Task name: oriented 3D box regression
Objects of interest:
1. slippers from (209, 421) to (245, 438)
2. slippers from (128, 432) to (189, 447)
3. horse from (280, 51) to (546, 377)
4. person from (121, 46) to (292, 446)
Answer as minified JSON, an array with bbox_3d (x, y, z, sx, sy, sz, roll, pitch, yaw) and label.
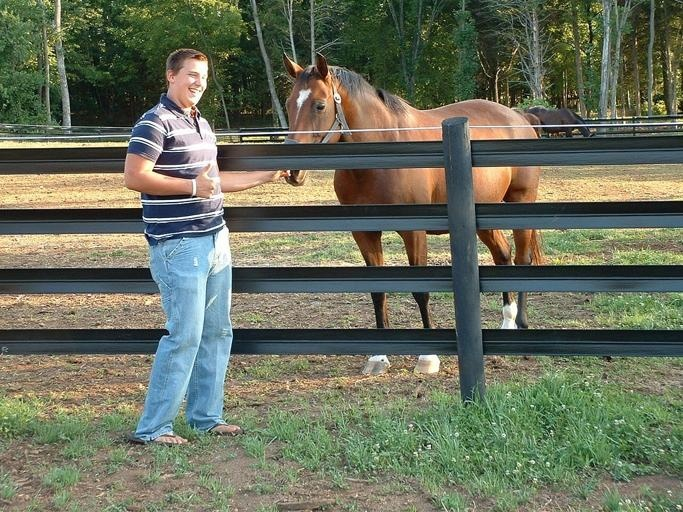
[{"bbox_3d":[-0.906,1.376,6.788,0.319,0.123,0.089,-2,37,7],"label":"slippers"},{"bbox_3d":[-1.431,1.390,6.571,0.423,0.063,0.150,0,11,3],"label":"slippers"},{"bbox_3d":[0.941,-0.464,9.094,1.161,3.017,4.299,3,7,44],"label":"horse"},{"bbox_3d":[-1.220,-0.090,6.654,1.032,3.023,0.601,-6,11,-31],"label":"person"}]
